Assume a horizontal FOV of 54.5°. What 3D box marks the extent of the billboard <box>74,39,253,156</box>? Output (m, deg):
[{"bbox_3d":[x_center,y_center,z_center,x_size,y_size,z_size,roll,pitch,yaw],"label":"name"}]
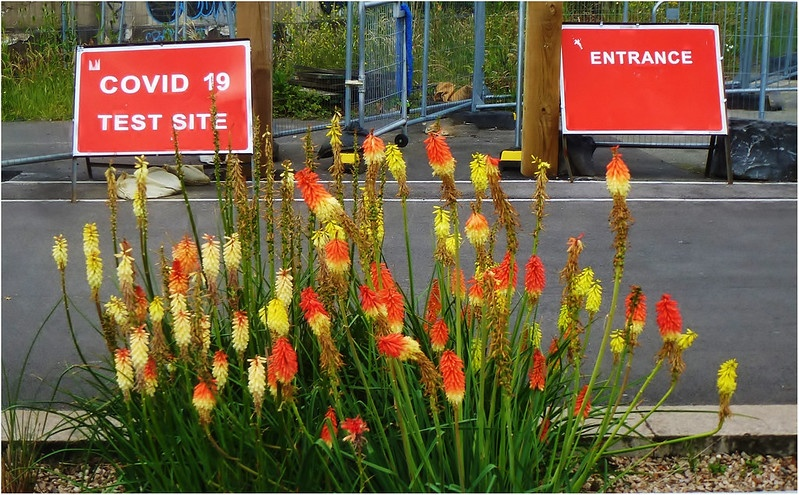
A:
[{"bbox_3d":[-2.780,-1.707,9.085,1.587,1.088,0.020,-1,-6,-2],"label":"billboard"}]
